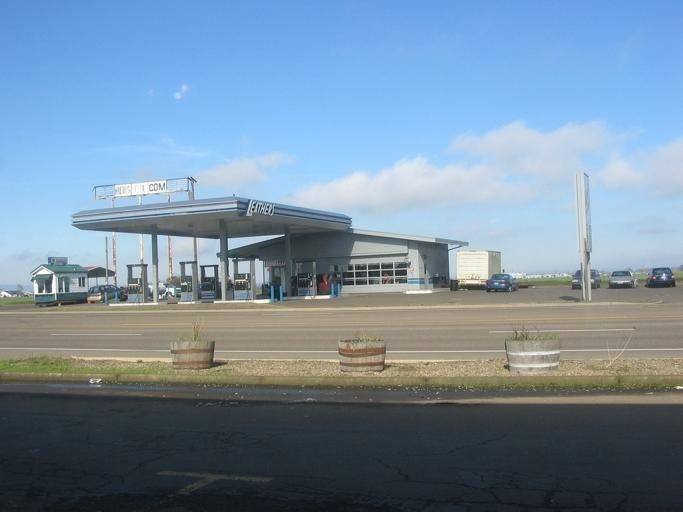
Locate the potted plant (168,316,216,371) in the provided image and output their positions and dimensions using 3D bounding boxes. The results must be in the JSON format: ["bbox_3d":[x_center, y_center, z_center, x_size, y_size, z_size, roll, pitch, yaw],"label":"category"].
[{"bbox_3d":[-3.384,2.015,18.267,1.026,0.990,0.963,2,0,32],"label":"potted plant"}]

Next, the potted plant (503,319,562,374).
[{"bbox_3d":[3.829,1.951,16.480,1.007,0.616,1.029,1,-8,-11],"label":"potted plant"}]

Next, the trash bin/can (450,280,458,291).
[{"bbox_3d":[8.612,2.148,60.722,0.756,0.730,0.731,0,-1,-31],"label":"trash bin/can"}]

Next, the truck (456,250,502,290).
[{"bbox_3d":[10.213,1.102,60.086,1.835,2.043,3.126,0,1,24],"label":"truck"}]

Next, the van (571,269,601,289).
[{"bbox_3d":[15.117,1.444,49.244,1.980,1.382,4.322,-2,-5,16],"label":"van"}]

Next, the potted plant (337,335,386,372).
[{"bbox_3d":[0.495,2.124,17.128,0.999,0.584,0.994,-3,-4,20],"label":"potted plant"}]
